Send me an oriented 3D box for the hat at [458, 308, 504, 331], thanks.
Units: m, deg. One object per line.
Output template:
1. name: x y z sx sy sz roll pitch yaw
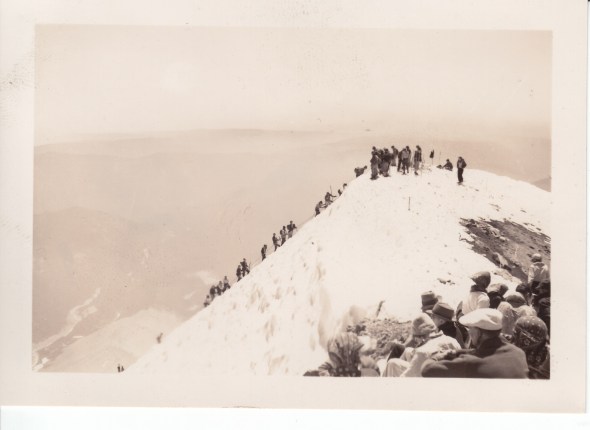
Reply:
1. hat: 2.245 1.260 5.390 0.532 0.191 0.166 6 -44 -3

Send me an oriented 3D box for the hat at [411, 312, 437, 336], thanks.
1. hat: 1.552 1.341 5.404 0.309 0.205 0.176 -8 -45 11

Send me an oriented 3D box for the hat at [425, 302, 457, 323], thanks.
1. hat: 1.785 1.186 5.408 0.266 0.223 0.113 3 -77 -37
